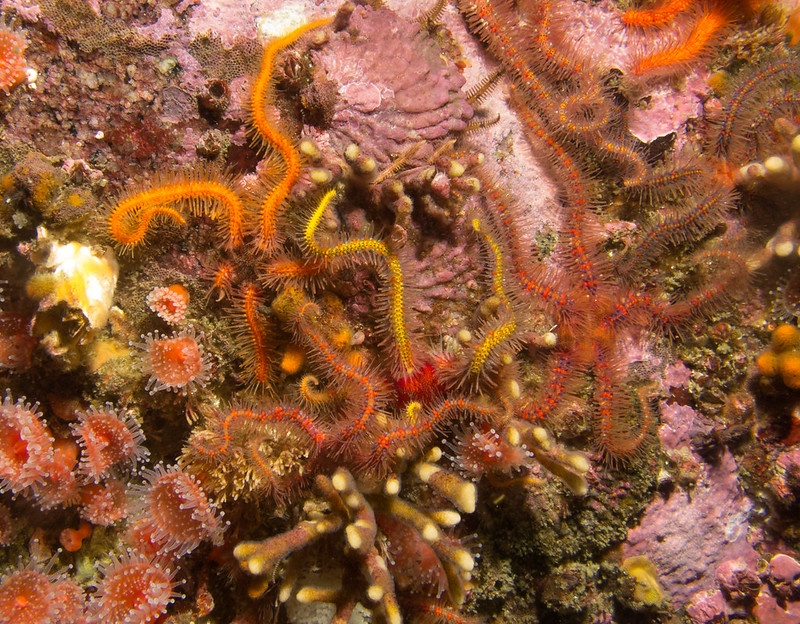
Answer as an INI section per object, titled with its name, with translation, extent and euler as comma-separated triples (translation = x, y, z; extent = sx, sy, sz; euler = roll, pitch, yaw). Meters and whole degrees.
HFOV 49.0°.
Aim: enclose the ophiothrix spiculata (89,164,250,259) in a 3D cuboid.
[ophiothrix spiculata]
translation = -1.489, -0.727, 5.909
extent = 0.734, 0.608, 0.244
euler = -12, 10, -4
